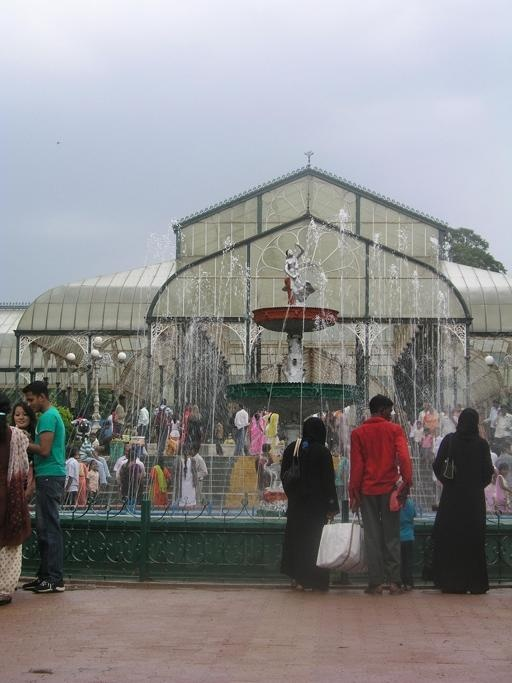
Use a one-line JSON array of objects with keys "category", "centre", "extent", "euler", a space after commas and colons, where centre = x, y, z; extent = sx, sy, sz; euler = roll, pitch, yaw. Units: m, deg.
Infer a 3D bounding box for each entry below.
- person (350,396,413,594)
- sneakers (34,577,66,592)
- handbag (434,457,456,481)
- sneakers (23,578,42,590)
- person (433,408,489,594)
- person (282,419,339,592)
[{"category": "person", "centre": [0.853, 1.032, 6.370], "extent": [0.363, 1.343, 0.494], "euler": [2, -7, -18]}, {"category": "sneakers", "centre": [-1.352, 1.574, 5.982], "extent": [0.199, 0.099, 0.071], "euler": [8, -14, -13]}, {"category": "handbag", "centre": [1.336, 0.894, 6.486], "extent": [0.132, 0.139, 0.069], "euler": [6, -14, 0]}, {"category": "sneakers", "centre": [-1.483, 1.584, 6.023], "extent": [0.162, 0.082, 0.061], "euler": [1, -10, -6]}, {"category": "person", "centre": [1.443, 1.081, 6.423], "extent": [0.416, 1.262, 0.585], "euler": [-2, -7, 15]}, {"category": "person", "centre": [0.372, 1.136, 6.521], "extent": [0.387, 1.181, 0.328], "euler": [0, -6, 1]}]
